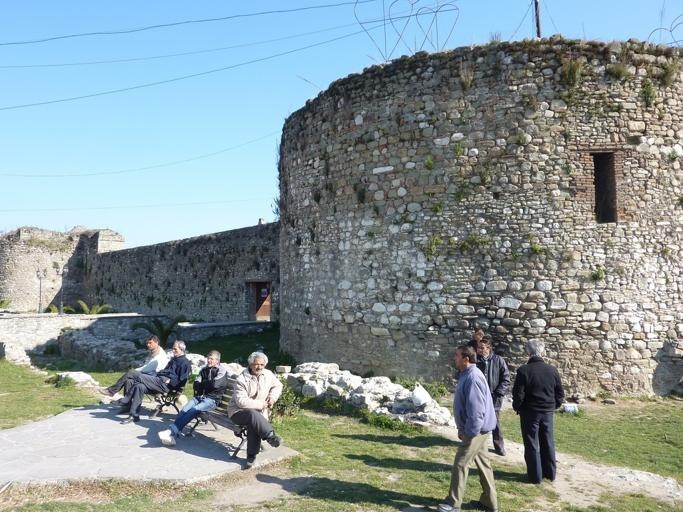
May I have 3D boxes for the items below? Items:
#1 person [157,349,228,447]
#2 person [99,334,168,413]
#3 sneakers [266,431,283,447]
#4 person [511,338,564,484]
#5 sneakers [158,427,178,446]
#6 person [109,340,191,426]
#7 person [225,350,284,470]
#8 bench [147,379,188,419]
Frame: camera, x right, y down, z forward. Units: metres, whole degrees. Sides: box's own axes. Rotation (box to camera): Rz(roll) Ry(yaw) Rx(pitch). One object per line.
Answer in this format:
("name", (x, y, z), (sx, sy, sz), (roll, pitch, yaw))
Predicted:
("person", (-2.792, 2.609, 11.990), (0.647, 1.076, 1.827), (5, 21, 24))
("person", (-4.123, 2.335, 13.045), (1.320, 1.434, 0.614), (2, 10, -21))
("sneakers", (-1.190, 3.226, 11.295), (0.152, 0.198, 0.309), (35, -13, -26))
("person", (3.454, 2.754, 11.458), (0.924, 2.336, 0.866), (10, 14, 31))
("sneakers", (-3.099, 3.236, 11.561), (0.176, 0.177, 0.393), (12, -42, 14))
("person", (-3.845, 2.562, 13.092), (1.531, 1.985, 0.909), (9, 2, 18))
("person", (-1.545, 2.691, 11.428), (0.924, 1.866, 0.882), (1, 12, -8))
("bench", (-3.547, 2.973, 13.215), (0.711, 0.901, 0.658), (9, -15, -19))
